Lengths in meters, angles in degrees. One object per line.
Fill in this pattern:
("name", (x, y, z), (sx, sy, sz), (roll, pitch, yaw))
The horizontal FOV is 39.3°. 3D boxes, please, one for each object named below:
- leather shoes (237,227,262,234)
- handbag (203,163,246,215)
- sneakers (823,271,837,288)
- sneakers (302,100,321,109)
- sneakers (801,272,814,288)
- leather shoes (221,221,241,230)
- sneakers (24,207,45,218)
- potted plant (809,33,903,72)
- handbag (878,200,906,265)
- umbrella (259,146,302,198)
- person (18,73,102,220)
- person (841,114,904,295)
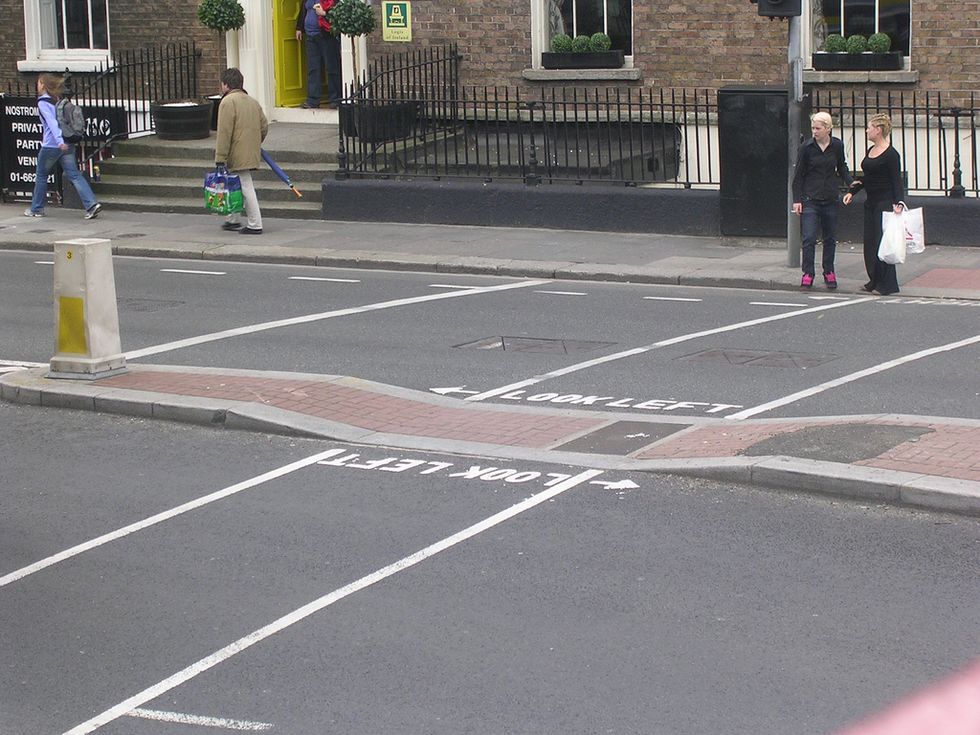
("leather shoes", (-3.412, -1.966, 19.644), (0.290, 0.132, 0.107), (3, 10, 13))
("handbag", (-3.726, -2.509, 19.321), (0.515, 0.688, 0.277), (-4, 14, -12))
("sneakers", (3.746, -0.954, 15.239), (0.122, 0.191, 0.192), (-4, 1, -2))
("sneakers", (-3.274, -4.842, 25.286), (0.317, 0.134, 0.118), (6, 13, 11))
("sneakers", (3.536, -0.965, 15.186), (0.164, 0.138, 0.188), (-4, 12, 20))
("leather shoes", (-3.757, -2.074, 20.027), (0.259, 0.111, 0.114), (5, 7, 30))
("sneakers", (-7.240, -2.452, 21.781), (0.369, 0.157, 0.156), (14, 27, 21))
("potted plant", (5.595, -4.824, 20.975), (1.340, 0.526, 0.531), (4, 15, 18))
("handbag", (4.219, -1.349, 14.468), (0.291, 0.599, 0.330), (-3, 14, -9))
("umbrella", (-3.311, -3.068, 21.782), (0.204, 0.138, 1.232), (-22, 51, -30))
("person", (-6.780, -3.479, 21.539), (1.225, 2.194, 0.680), (3, 14, 16))
("person", (4.166, -1.744, 14.760), (0.531, 1.904, 0.757), (-6, 14, -17))
